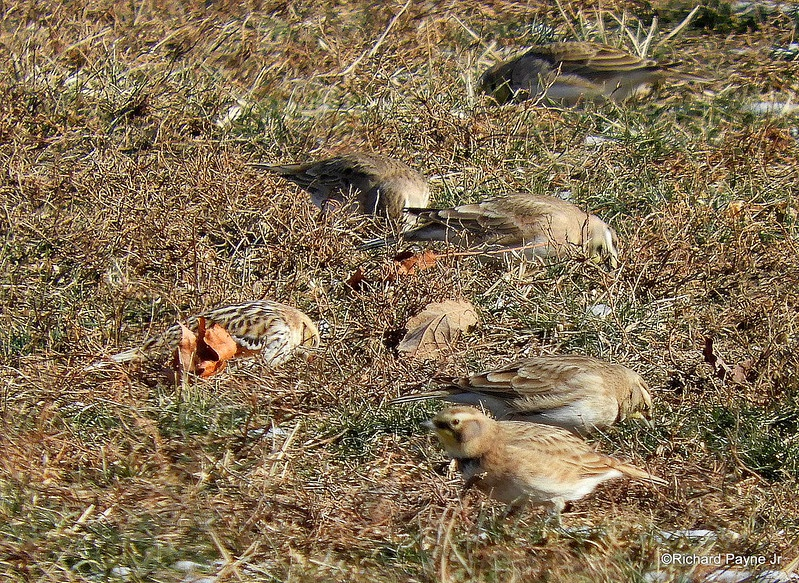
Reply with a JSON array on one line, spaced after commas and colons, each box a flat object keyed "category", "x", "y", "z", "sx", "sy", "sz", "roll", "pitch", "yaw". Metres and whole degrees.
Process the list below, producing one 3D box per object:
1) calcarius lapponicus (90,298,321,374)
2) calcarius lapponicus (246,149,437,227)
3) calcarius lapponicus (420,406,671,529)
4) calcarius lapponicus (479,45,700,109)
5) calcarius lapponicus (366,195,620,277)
[{"category": "calcarius lapponicus", "x": -0.854, "y": 0.240, "z": 5.156, "sx": 0.429, "sy": 0.442, "sz": 1.196, "roll": 10, "pitch": -7, "yaw": 27}, {"category": "calcarius lapponicus", "x": -0.406, "y": -0.828, "z": 7.014, "sx": 1.298, "sy": 0.438, "sz": 0.513, "roll": 23, "pitch": 21, "yaw": 0}, {"category": "calcarius lapponicus", "x": 0.747, "y": 0.795, "z": 4.332, "sx": 1.258, "sy": 0.498, "sz": 0.375, "roll": 1, "pitch": 0, "yaw": -25}, {"category": "calcarius lapponicus", "x": 1.660, "y": -2.048, "z": 8.758, "sx": 1.772, "sy": 0.705, "sz": 0.407, "roll": -6, "pitch": -29, "yaw": 2}, {"category": "calcarius lapponicus", "x": 0.764, "y": -0.441, "z": 6.304, "sx": 2.030, "sy": 0.477, "sz": 0.525, "roll": 5, "pitch": 20, "yaw": 7}]
